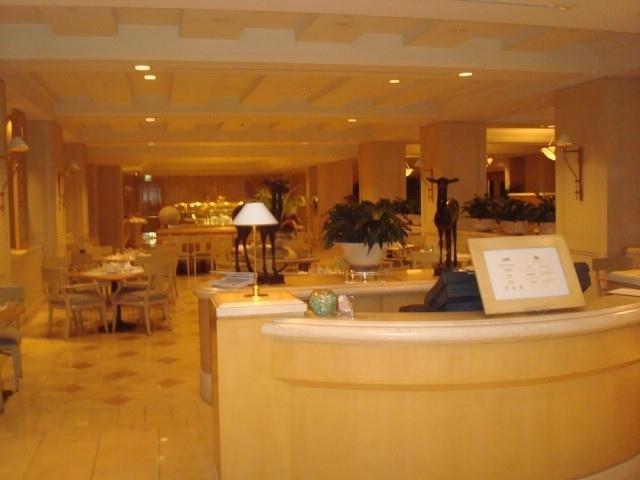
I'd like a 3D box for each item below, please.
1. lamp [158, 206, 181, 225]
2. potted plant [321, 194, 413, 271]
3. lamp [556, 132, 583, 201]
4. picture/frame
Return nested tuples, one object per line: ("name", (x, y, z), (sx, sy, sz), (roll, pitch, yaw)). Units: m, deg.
("lamp", (-5.696, -0.874, 19.487), (0.679, 0.671, 0.847), (-1, 5, -20))
("potted plant", (0.404, -0.050, 4.866), (0.713, 0.463, 0.697), (0, -3, 1))
("lamp", (3.817, -1.111, 8.113), (0.401, 0.992, 0.541), (-1, 5, -13))
("picture/frame", (1.247, 0.229, 3.151), (0.525, 0.336, 0.041), (-2, -17, -17))
